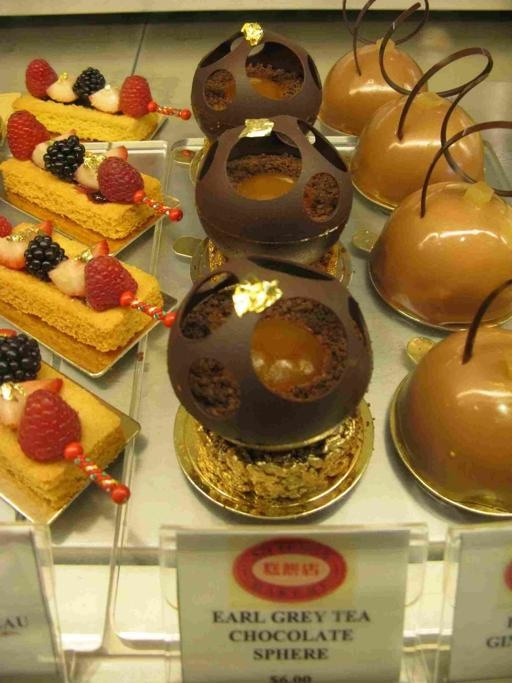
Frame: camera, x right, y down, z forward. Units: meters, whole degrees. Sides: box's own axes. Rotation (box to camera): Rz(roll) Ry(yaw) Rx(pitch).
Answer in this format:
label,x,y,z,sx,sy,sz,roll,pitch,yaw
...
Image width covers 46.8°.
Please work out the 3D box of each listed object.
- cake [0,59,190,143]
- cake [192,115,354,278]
label,x,y,z,sx,sy,sz,roll,pitch,yaw
cake,-0.459,-0.689,1.765,0.497,0.176,0.277,11,37,8
cake,0.028,-0.293,1.243,0.350,0.282,0.348,-4,60,-5
